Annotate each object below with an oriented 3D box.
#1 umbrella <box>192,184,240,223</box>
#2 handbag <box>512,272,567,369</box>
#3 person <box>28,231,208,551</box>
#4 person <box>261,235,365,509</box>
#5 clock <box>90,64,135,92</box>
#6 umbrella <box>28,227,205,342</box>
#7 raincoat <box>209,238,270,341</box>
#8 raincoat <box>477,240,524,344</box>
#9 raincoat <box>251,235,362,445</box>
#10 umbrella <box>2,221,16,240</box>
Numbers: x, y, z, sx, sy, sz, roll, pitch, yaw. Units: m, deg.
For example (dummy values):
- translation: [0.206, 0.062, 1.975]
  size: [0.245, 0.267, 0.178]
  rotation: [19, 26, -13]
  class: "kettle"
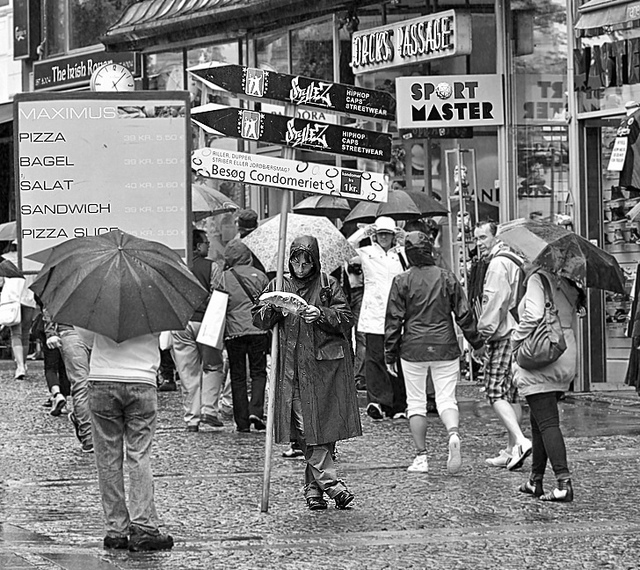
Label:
- translation: [-1.437, -1.098, 18.821]
  size: [0.680, 0.751, 0.673]
  rotation: [3, 9, -9]
  class: "umbrella"
- translation: [1.703, 0.270, 11.032]
  size: [0.388, 0.729, 0.295]
  rotation: [-1, 3, 7]
  class: "handbag"
- translation: [-1.369, 0.752, 9.820]
  size: [1.136, 2.108, 1.139]
  rotation: [-1, -1, 30]
  class: "person"
- translation: [-0.063, 0.651, 10.669]
  size: [0.716, 2.031, 0.648]
  rotation: [-2, 3, -2]
  class: "person"
- translation: [-3.518, -3.484, 24.001]
  size: [1.032, 0.482, 0.614]
  rotation: [1, 4, 41]
  class: "clock"
- translation: [-1.357, -0.008, 9.661]
  size: [1.127, 0.712, 0.588]
  rotation: [-3, 3, -12]
  class: "umbrella"
- translation: [-0.799, 0.031, 14.111]
  size: [0.521, 1.071, 0.502]
  rotation: [-2, 7, -25]
  class: "raincoat"
- translation: [1.574, 0.057, 12.447]
  size: [0.410, 0.873, 0.381]
  rotation: [-1, 7, 1]
  class: "raincoat"
- translation: [-0.051, 0.431, 10.862]
  size: [0.763, 1.624, 0.738]
  rotation: [1, 8, -15]
  class: "raincoat"
- translation: [-5.592, -0.965, 25.626]
  size: [0.225, 0.294, 0.911]
  rotation: [-3, 3, -13]
  class: "umbrella"
